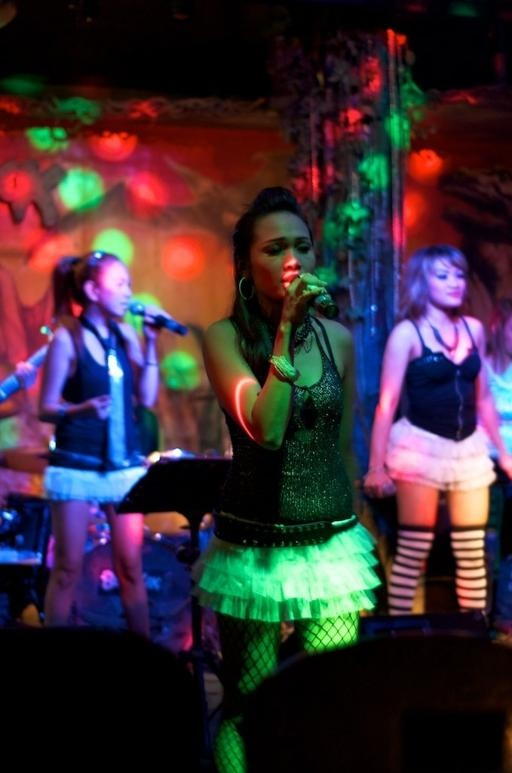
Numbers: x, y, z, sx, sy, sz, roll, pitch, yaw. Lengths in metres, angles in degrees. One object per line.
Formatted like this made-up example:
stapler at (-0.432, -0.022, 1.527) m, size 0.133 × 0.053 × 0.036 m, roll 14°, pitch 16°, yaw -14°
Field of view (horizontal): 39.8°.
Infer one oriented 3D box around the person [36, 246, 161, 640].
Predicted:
person at (-0.647, 0.237, 3.033) m, size 0.465 × 1.654 × 0.638 m, roll -1°, pitch 6°, yaw -8°

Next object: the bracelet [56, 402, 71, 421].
bracelet at (-0.758, 0.097, 2.787) m, size 0.049 × 0.053 × 0.020 m, roll -4°, pitch -34°, yaw -7°

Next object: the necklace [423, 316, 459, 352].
necklace at (0.738, -0.223, 2.866) m, size 0.101 × 0.158 × 0.039 m, roll -31°, pitch -6°, yaw -26°

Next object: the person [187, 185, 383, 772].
person at (0.069, 0.153, 1.318) m, size 0.356 × 1.070 × 0.374 m, roll -1°, pitch 6°, yaw -9°

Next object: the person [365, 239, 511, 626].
person at (0.772, 0.158, 2.901) m, size 0.450 × 1.489 × 0.582 m, roll 4°, pitch 8°, yaw 37°

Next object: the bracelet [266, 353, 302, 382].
bracelet at (0.046, -0.029, 1.157) m, size 0.047 × 0.035 × 0.019 m, roll 44°, pitch 1°, yaw 23°

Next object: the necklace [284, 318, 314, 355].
necklace at (0.088, -0.095, 1.325) m, size 0.055 × 0.073 × 0.030 m, roll 3°, pitch 17°, yaw -4°
